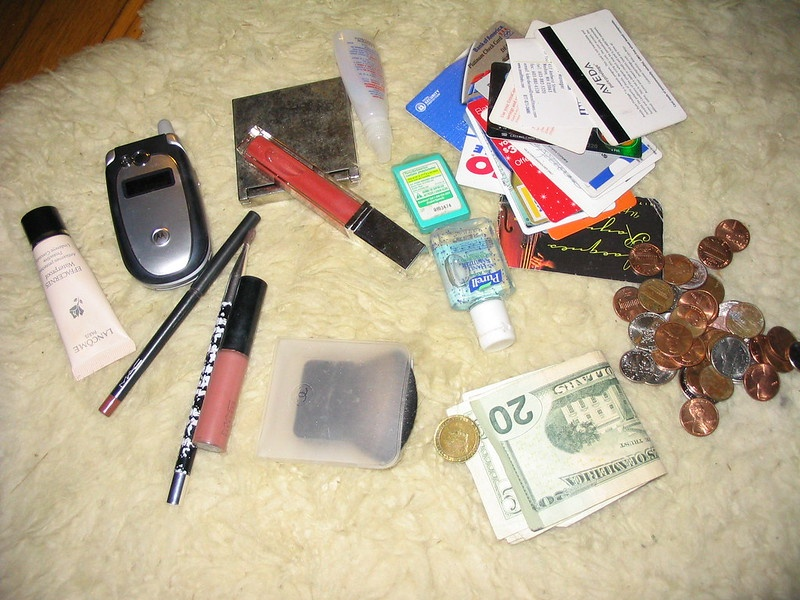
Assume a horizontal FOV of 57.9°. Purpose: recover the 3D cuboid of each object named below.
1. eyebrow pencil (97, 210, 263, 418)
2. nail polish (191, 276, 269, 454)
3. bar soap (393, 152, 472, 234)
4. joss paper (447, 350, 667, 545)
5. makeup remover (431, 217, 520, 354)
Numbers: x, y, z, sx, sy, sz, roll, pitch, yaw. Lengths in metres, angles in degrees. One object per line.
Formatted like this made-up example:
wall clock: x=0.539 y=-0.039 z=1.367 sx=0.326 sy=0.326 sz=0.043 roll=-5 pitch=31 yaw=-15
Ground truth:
eyebrow pencil: x=-0.335 y=0.047 z=1.108 sx=0.030 sy=0.027 sz=0.361 roll=37 pitch=43 yaw=-6
nail polish: x=-0.238 y=0.088 z=1.011 sx=0.043 sy=0.065 sz=0.239 roll=11 pitch=70 yaw=4
bar soap: x=0.046 y=-0.160 z=1.068 sx=0.093 sy=0.099 sz=0.130 roll=-10 pitch=49 yaw=-20
joss paper: x=0.217 y=0.201 z=0.991 sx=0.234 sy=0.058 sz=0.224 roll=-23 pitch=75 yaw=-3
makeup remover: x=0.112 y=-0.017 z=1.048 sx=0.100 sy=0.053 sz=0.197 roll=-11 pitch=61 yaw=-8
